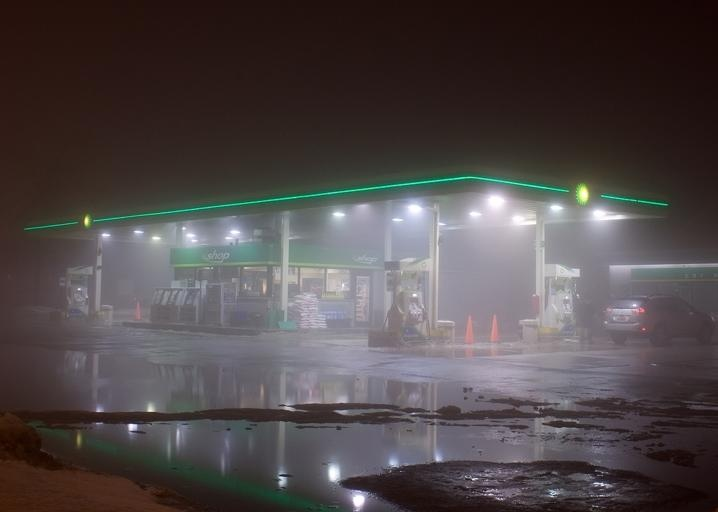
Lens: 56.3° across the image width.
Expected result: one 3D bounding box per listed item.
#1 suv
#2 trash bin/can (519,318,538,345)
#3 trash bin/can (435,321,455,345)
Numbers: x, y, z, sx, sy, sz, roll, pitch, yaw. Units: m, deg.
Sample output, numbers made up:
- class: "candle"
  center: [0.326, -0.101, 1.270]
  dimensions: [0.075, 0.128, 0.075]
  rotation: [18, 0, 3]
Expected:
- class: "suv"
  center: [11.443, 2.283, 25.069]
  dimensions: [3.901, 1.417, 1.786]
  rotation: [0, -1, -34]
- class: "trash bin/can"
  center: [6.418, 2.832, 25.437]
  dimensions: [0.752, 0.987, 0.766]
  rotation: [-1, -2, 3]
- class: "trash bin/can"
  center: [3.015, 2.679, 23.904]
  dimensions: [0.634, 0.762, 1.129]
  rotation: [1, -3, 20]
